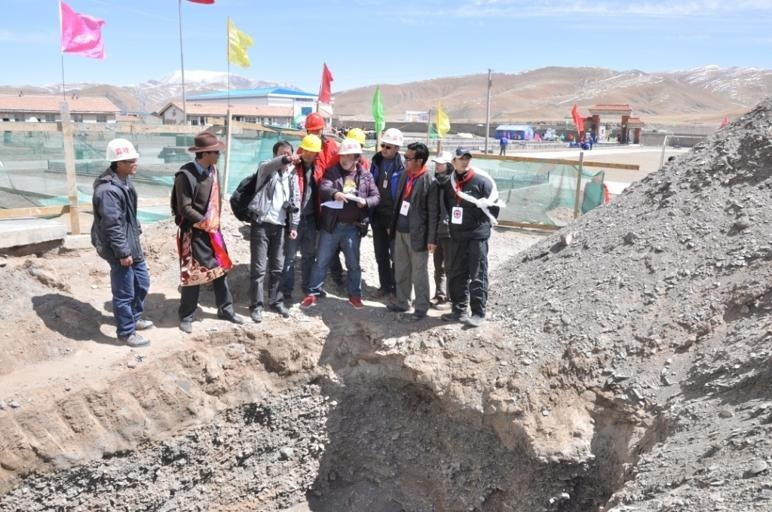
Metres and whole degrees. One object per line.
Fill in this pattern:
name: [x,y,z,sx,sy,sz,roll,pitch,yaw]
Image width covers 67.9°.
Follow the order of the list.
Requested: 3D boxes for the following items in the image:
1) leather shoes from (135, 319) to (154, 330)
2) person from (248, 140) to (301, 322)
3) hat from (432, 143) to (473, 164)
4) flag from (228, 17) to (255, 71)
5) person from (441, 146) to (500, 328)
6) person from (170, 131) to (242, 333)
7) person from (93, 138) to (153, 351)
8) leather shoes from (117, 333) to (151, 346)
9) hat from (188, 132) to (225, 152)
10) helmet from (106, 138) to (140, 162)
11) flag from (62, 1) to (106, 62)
leather shoes: [-3.048,0.881,7.268,0.203,0.073,0.085,-4,21,4]
person: [-1.495,-0.249,7.644,0.740,2.228,0.508,-5,16,-17]
hat: [0.864,-1.324,7.550,0.474,0.138,0.285,-5,8,20]
flag: [-3.080,-4.538,12.390,0.574,0.935,0.424,-13,20,-40]
person: [1.073,-0.236,7.359,0.512,2.236,0.757,-12,19,-36]
person: [-2.302,-0.279,7.226,0.777,2.474,0.458,-5,16,-18]
person: [-3.178,-0.138,6.902,0.559,2.455,0.679,-6,16,-21]
leather shoes: [-3.035,1.036,6.956,0.360,0.143,0.153,-1,15,-8]
hat: [-2.167,-1.345,7.046,0.304,0.119,0.334,18,30,26]
helmet: [-3.245,-1.252,6.939,0.345,0.202,0.423,-15,16,-41]
flag: [-8.063,-5.938,15.203,0.327,1.230,1.135,8,16,27]
